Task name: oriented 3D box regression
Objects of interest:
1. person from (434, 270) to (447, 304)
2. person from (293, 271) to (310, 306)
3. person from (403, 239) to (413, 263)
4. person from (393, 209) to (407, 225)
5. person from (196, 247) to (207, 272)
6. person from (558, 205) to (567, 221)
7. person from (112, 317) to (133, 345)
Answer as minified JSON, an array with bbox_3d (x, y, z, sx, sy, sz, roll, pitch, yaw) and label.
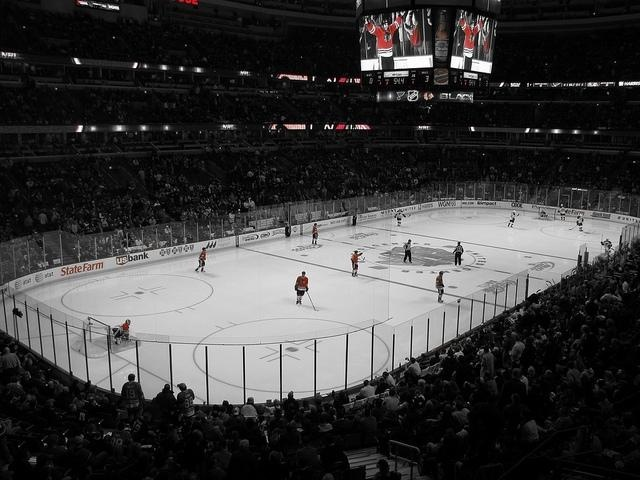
[{"bbox_3d":[5.724,2.195,30.250,0.328,1.500,1.761,0,4,11],"label":"person"},{"bbox_3d":[-0.868,2.217,29.378,0.520,1.556,1.310,0,4,-2],"label":"person"},{"bbox_3d":[5.117,0.669,37.187,0.521,1.358,2.055,0,4,8],"label":"person"},{"bbox_3d":[6.368,-1.770,51.085,1.482,0.727,2.400,14,10,13],"label":"person"},{"bbox_3d":[-6.784,1.195,36.157,0.503,0.405,1.139,-15,-19,-24],"label":"person"},{"bbox_3d":[20.064,-2.314,52.491,0.579,1.172,1.067,2,4,26],"label":"person"},{"bbox_3d":[-7.166,3.329,22.960,0.782,0.759,1.277,3,9,2],"label":"person"}]
